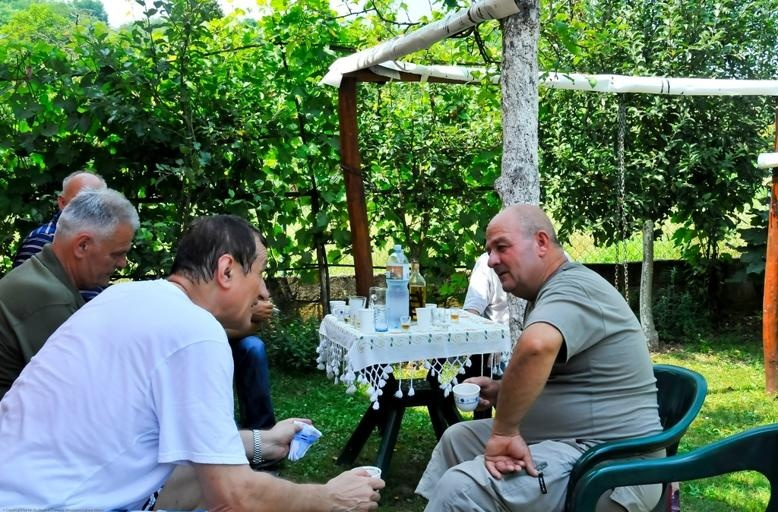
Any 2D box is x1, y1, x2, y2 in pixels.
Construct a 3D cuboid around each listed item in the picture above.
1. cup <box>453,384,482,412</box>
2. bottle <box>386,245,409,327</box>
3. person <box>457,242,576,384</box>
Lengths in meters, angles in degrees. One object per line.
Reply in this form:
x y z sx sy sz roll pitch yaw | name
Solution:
0.500 0.885 4.224 0.176 0.128 0.174 -1 -5 0 | cup
0.064 0.218 4.835 0.159 0.599 0.253 0 0 2 | bottle
0.812 0.391 4.282 0.329 0.799 1.003 3 10 30 | person
